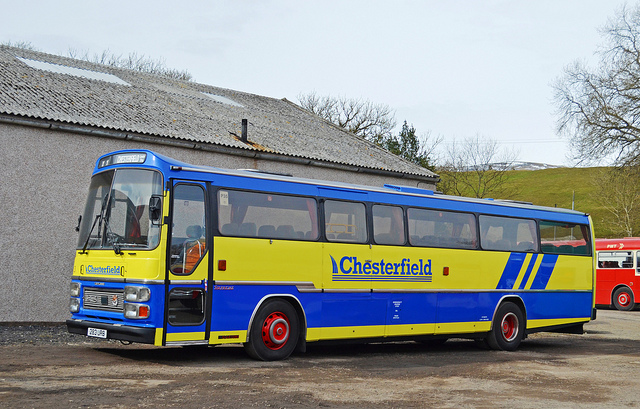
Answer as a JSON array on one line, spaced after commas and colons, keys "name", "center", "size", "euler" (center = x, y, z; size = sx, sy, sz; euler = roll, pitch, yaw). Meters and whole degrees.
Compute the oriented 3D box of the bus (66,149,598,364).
[{"name": "bus", "center": [1.733, 1.740, 18.950], "size": [16.146, 4.833, 4.093], "euler": [5, -7, -32]}]
